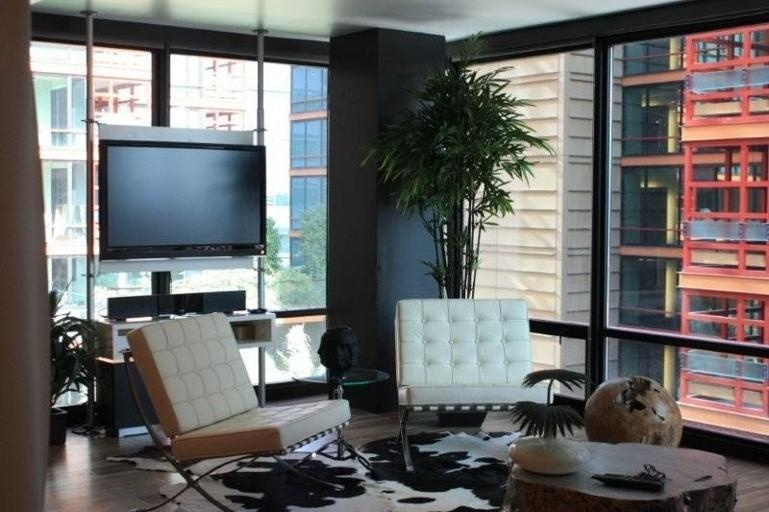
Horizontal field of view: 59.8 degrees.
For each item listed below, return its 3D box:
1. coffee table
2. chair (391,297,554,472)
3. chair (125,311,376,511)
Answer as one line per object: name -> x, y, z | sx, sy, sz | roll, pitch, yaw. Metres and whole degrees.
coffee table -> -0.311, 1.121, 4.784 | 0.780, 0.515, 0.704 | 0, -3, -1
chair -> 0.515, 0.880, 4.803 | 1.338, 1.229, 1.012 | -1, -4, -7
chair -> -0.735, 0.813, 3.946 | 1.262, 1.027, 1.166 | -5, -2, 14
